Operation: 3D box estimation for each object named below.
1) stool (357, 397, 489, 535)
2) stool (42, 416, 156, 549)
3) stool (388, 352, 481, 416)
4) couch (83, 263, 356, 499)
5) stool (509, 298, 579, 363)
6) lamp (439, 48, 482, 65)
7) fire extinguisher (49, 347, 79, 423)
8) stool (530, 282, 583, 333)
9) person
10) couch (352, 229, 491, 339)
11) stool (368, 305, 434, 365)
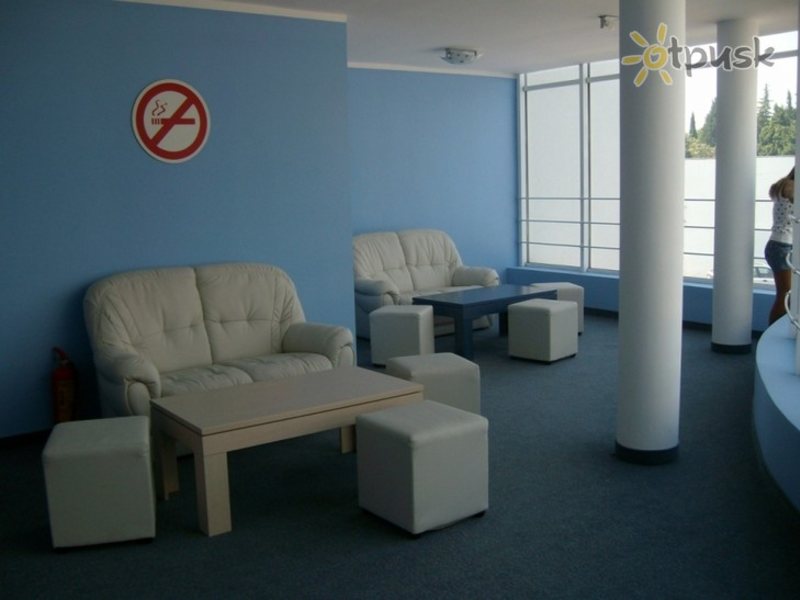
[{"bbox_3d":[0.111,0.862,3.808,0.638,0.720,0.645,-8,8,-38],"label":"stool"},{"bbox_3d":[-1.702,0.966,3.773,0.588,0.673,0.614,-4,9,-20],"label":"stool"},{"bbox_3d":[0.268,0.558,4.903,0.480,0.441,0.490,-4,8,-30],"label":"stool"},{"bbox_3d":[-1.437,0.399,5.197,1.074,1.355,1.940,5,8,44],"label":"couch"},{"bbox_3d":[1.531,0.239,6.773,0.606,0.689,0.609,5,11,41],"label":"stool"},{"bbox_3d":[0.705,-2.829,7.478,0.454,0.126,0.565,0,12,7],"label":"lamp"},{"bbox_3d":[-2.646,0.658,5.024,0.196,0.588,0.186,-9,14,-35],"label":"fire extinguisher"},{"bbox_3d":[2.025,0.042,7.830,0.573,0.660,0.590,-7,9,-31],"label":"stool"},{"bbox_3d":[3.898,-0.491,6.541,0.229,1.568,0.560,2,12,19],"label":"person"},{"bbox_3d":[0.270,-0.203,8.058,1.848,1.384,1.049,-9,8,-36],"label":"couch"},{"bbox_3d":[-0.017,0.317,6.819,0.687,0.582,0.698,7,19,33],"label":"stool"}]
